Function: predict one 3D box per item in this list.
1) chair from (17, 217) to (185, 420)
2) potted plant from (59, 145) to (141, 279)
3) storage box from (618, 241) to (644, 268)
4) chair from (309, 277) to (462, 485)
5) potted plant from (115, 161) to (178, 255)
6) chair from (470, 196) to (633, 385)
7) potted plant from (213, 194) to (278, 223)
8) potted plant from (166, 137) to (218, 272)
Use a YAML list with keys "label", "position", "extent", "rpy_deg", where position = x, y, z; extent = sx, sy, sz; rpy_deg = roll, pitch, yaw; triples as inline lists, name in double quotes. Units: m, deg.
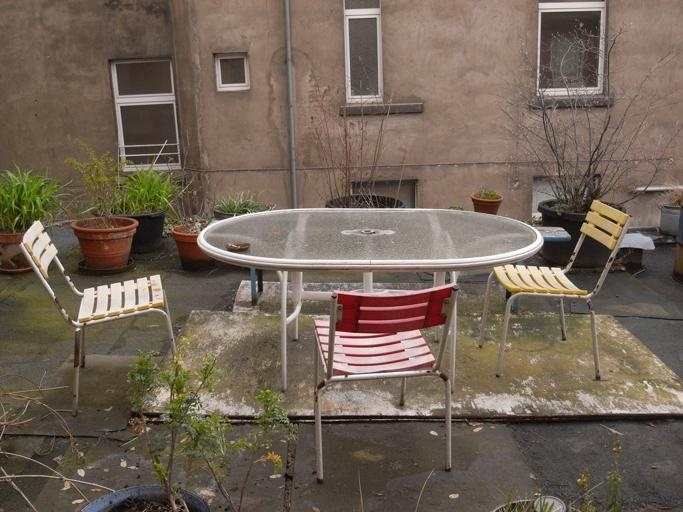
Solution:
- label: "chair"
  position: [-1.673, 0.397, 4.363]
  extent: [0.945, 1.257, 0.749]
  rpy_deg: [-3, 21, -16]
- label: "potted plant"
  position: [-2.517, -0.497, 6.591]
  extent: [0.642, 1.222, 0.613]
  rpy_deg: [3, -3, 14]
- label: "storage box"
  position: [3.160, 0.021, 6.530]
  extent: [0.305, 0.224, 0.226]
  rpy_deg: [6, 22, 20]
- label: "chair"
  position: [0.182, 0.650, 3.730]
  extent: [0.887, 1.188, 0.971]
  rpy_deg: [-4, 16, -18]
- label: "potted plant"
  position: [-2.580, -0.603, 7.445]
  extent: [0.821, 0.868, 0.810]
  rpy_deg: [7, -6, 29]
- label: "chair"
  position: [1.567, 0.221, 4.541]
  extent: [0.921, 1.223, 0.779]
  rpy_deg: [2, 14, 9]
- label: "potted plant"
  position: [-1.115, -0.560, 6.848]
  extent: [0.564, 0.225, 0.551]
  rpy_deg: [-9, 10, -31]
- label: "potted plant"
  position: [-1.763, -0.550, 6.717]
  extent: [0.588, 1.422, 0.539]
  rpy_deg: [-17, 18, -18]
